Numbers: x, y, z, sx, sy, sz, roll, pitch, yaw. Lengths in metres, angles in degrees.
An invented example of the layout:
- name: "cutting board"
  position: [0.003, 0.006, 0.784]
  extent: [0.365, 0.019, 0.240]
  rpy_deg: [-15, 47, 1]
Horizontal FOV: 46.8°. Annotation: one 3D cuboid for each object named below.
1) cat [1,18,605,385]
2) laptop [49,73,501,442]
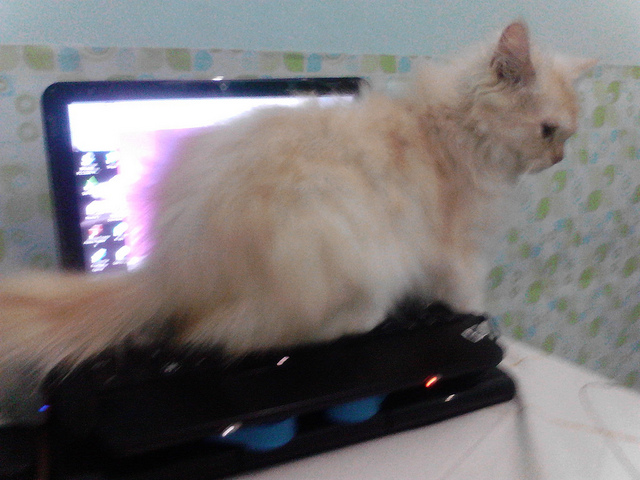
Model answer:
- name: "cat"
  position: [0.004, -0.051, 0.875]
  extent: [0.774, 0.337, 0.252]
  rpy_deg: [-14, 32, -5]
- name: "laptop"
  position: [-0.050, -0.017, 0.741]
  extent: [0.406, 0.244, 0.298]
  rpy_deg: [-10, 26, -31]
